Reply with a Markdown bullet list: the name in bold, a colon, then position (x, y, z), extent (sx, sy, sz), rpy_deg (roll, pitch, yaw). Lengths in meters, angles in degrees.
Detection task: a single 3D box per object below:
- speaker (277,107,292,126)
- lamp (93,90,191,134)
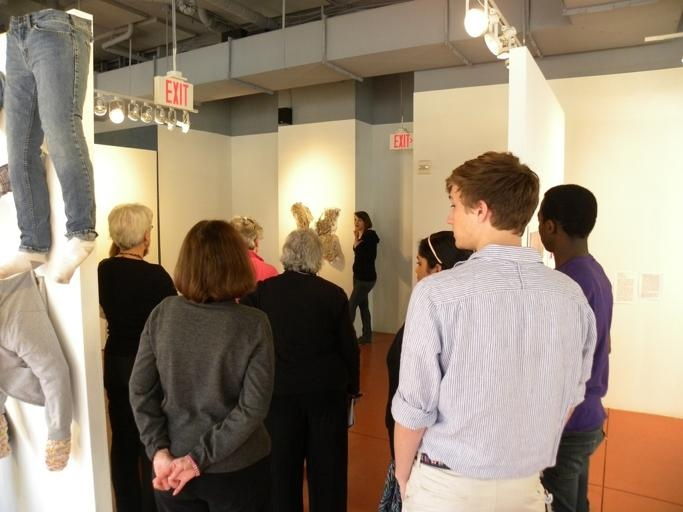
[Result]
- **speaker**: position (-0.850, -2.114, 8.392), extent (0.222, 0.253, 0.127), rpy_deg (4, 11, 17)
- **lamp**: position (-2.457, -1.769, 6.748), extent (1.480, 0.401, 0.638), rpy_deg (9, 12, 35)
